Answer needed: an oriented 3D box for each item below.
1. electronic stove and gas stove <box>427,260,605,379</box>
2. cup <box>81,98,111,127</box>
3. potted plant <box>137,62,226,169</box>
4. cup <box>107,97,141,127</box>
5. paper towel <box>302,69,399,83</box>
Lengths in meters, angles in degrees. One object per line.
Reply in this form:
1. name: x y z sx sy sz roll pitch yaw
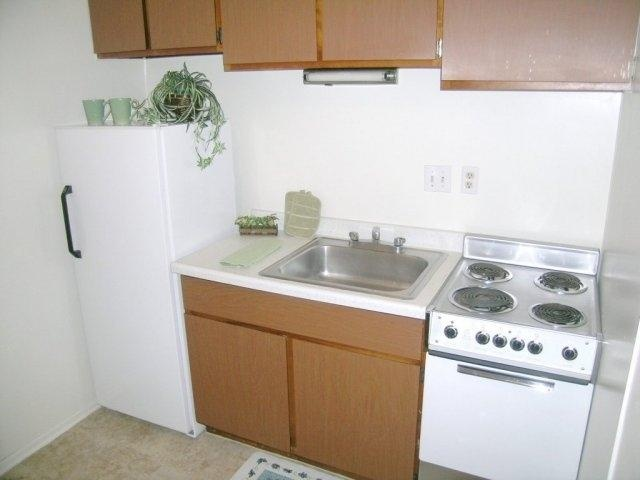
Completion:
1. electronic stove and gas stove: 0.876 0.343 2.216 0.648 0.241 0.595 8 19 24
2. cup: -1.203 -0.690 2.636 0.097 0.131 0.178 -6 19 -17
3. potted plant: -0.759 -0.669 2.702 0.460 0.517 0.369 -17 24 -42
4. cup: -1.058 -0.698 2.640 0.129 0.135 0.327 -6 19 -18
5. paper towel: 0.158 -0.822 2.459 0.476 0.075 0.159 9 20 26
